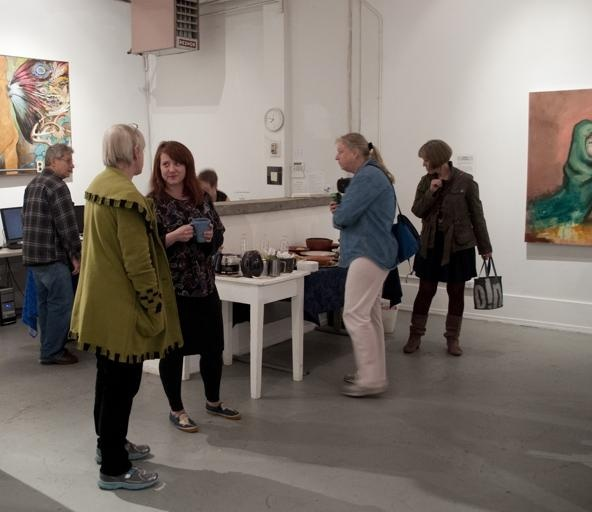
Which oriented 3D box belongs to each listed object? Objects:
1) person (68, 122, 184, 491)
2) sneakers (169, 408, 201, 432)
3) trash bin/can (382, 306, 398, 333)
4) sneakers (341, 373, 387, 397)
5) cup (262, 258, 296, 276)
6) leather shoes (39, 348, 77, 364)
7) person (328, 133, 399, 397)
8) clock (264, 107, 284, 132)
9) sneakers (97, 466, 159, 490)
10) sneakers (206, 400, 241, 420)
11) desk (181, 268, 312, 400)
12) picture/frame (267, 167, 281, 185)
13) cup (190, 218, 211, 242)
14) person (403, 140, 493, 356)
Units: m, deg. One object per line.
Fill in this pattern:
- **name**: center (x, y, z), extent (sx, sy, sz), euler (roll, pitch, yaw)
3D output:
- **person**: center (-0.724, 0.266, 2.011), extent (0.452, 1.636, 0.359), euler (-8, 13, -28)
- **sneakers**: center (-0.647, 0.948, 2.706), extent (0.073, 0.079, 0.191), euler (-4, 3, -43)
- **trash bin/can**: center (0.945, 0.658, 4.876), extent (0.207, 0.289, 0.222), euler (-1, 2, 2)
- **sneakers**: center (0.449, 0.915, 3.301), extent (0.353, 0.172, 0.123), euler (-6, 4, 27)
- **cup**: center (-0.108, 0.071, 3.368), extent (0.195, 0.099, 0.113), euler (-2, 3, -44)
- **leather shoes**: center (-1.969, 0.850, 3.883), extent (0.288, 0.150, 0.129), euler (-4, 12, -30)
- **person**: center (0.471, 0.173, 3.153), extent (0.428, 1.619, 0.273), euler (1, 11, 11)
- **clock**: center (-0.217, -1.414, 4.769), extent (0.236, 0.264, 0.032), euler (8, 7, 40)
- **sneakers**: center (-0.751, 1.019, 2.116), extent (0.256, 0.123, 0.109), euler (1, 1, -13)
- **sneakers**: center (-0.449, 0.953, 2.910), extent (0.224, 0.092, 0.089), euler (6, 6, 22)
- **desk**: center (-0.399, 0.465, 3.379), extent (0.843, 1.149, 0.808), euler (3, 5, 34)
- **picture/frame**: center (-0.220, -0.838, 4.778), extent (0.175, 0.188, 0.096), euler (0, 1, 34)
- **cup**: center (-0.482, -0.140, 2.413), extent (0.104, 0.126, 0.100), euler (1, 7, 0)
- **person**: center (1.320, -0.053, 4.069), extent (0.679, 1.890, 0.432), euler (3, 12, 21)
